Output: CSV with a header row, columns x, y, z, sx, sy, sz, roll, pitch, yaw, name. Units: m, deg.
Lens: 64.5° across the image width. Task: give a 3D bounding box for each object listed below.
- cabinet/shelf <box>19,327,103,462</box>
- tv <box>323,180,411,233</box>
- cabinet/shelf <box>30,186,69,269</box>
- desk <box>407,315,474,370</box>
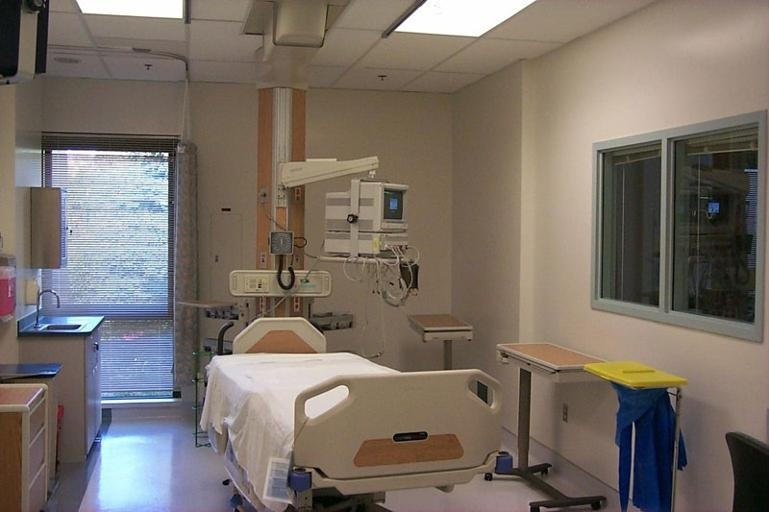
x,y,z,sx,sy,sz,roll,pitch,yaw,name
-2.541,1.065,4.729,0.593,1.022,1.092,-1,2,-14,cabinet/shelf
-0.128,-0.367,4.897,0.476,0.352,0.470,0,0,14,tv
-3.079,-0.253,5.546,0.256,0.759,0.789,-1,0,-25,cabinet/shelf
0.549,0.910,5.930,0.493,0.597,0.882,-5,4,-7,desk
